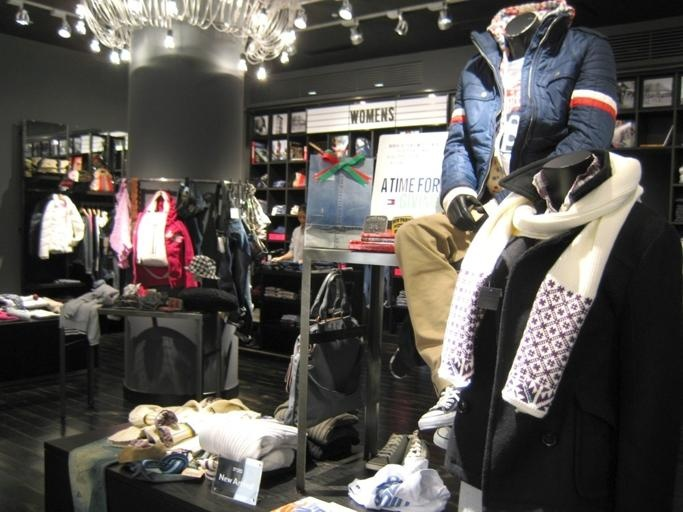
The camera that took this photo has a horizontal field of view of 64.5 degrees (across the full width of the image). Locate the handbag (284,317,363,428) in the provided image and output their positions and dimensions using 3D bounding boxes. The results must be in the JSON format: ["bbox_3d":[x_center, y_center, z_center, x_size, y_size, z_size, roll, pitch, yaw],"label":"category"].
[{"bbox_3d":[-0.075,0.618,2.900,0.431,0.589,0.270,-6,16,-32],"label":"handbag"}]

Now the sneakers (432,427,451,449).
[{"bbox_3d":[0.389,0.702,2.075,0.079,0.038,0.114,0,6,20],"label":"sneakers"}]

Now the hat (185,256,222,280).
[{"bbox_3d":[-1.123,0.089,4.471,0.198,0.093,0.200,35,20,22],"label":"hat"}]

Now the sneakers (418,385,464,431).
[{"bbox_3d":[0.382,0.539,1.927,0.076,0.109,0.230,3,1,41],"label":"sneakers"}]

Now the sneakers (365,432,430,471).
[{"bbox_3d":[0.305,0.976,2.735,0.165,0.119,0.290,-10,-18,29],"label":"sneakers"}]
